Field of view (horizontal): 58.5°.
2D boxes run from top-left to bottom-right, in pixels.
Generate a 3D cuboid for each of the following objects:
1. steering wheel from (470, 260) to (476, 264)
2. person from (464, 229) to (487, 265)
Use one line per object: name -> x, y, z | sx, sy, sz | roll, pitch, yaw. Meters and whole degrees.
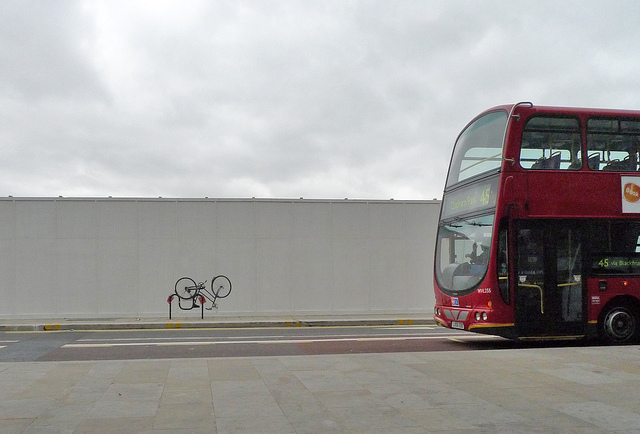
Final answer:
steering wheel -> 4.292, 1.238, 15.932 | 0.036, 0.102, 0.156 | -8, -1, -39
person -> 4.517, 0.835, 15.967 | 0.608, 0.832, 0.756 | 1, -4, 0
